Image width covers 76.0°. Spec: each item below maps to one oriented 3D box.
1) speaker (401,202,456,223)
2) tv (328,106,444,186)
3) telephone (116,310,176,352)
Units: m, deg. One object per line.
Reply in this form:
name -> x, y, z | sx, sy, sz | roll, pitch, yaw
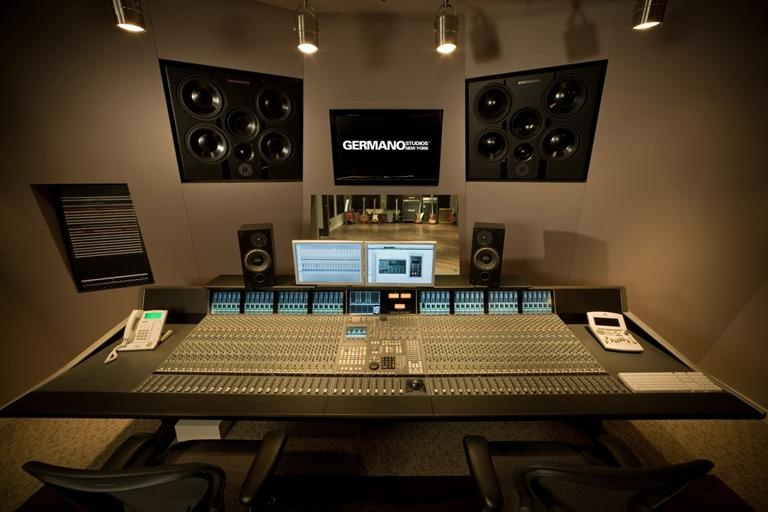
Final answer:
speaker -> 0.550, -0.548, 6.228 | 0.693, 0.266, 0.149 | 2, 12, 11
tv -> 0.016, -1.098, 5.000 | 1.085, 0.718, 0.240 | -2, 12, -9
telephone -> -1.841, 0.581, 3.873 | 0.351, 0.279, 0.371 | 4, 16, -10
